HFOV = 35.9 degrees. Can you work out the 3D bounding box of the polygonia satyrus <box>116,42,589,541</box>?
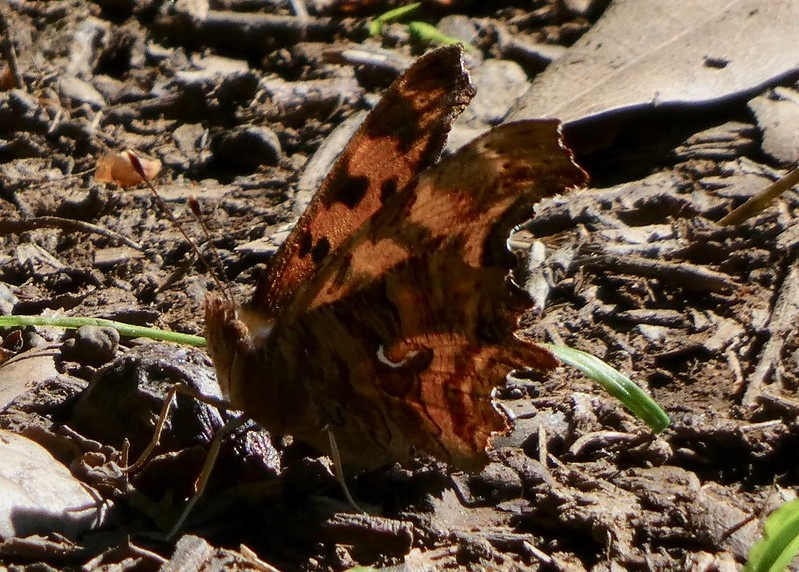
[{"bbox_3d":[-0.066,0.014,4.475,1.296,1.742,0.575,2,27,-9],"label":"polygonia satyrus"}]
